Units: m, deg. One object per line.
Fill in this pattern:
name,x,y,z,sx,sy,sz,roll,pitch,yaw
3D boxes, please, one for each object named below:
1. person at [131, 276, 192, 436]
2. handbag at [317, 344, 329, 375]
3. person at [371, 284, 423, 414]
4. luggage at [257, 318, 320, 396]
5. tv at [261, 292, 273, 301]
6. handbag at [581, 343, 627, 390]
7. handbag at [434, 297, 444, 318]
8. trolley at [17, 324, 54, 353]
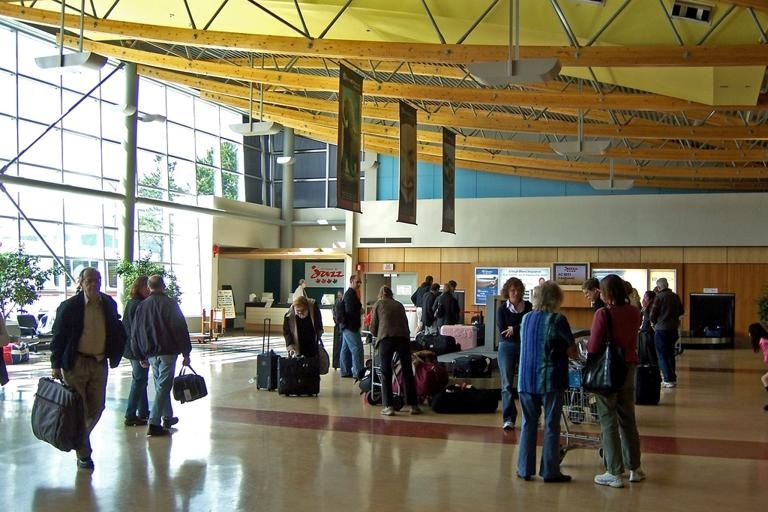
person,-3.226,1.425,9.599,0.906,2.272,0.486,1,-1,-1
handbag,-1.110,1.972,12.134,0.125,0.464,0.478,-5,19,7
person,0.170,1.593,10.842,0.798,1.932,0.526,1,-1,-9
luggage,-1.738,2.128,12.538,0.975,1.273,0.811,0,-2,10
tv,-4.696,1.682,26.637,0.387,0.289,0.328,1,0,3
handbag,2.595,1.298,7.726,0.529,0.711,0.325,0,-2,33
handbag,1.280,1.187,15.573,0.195,0.526,0.258,1,-1,4
trolley,-8.902,2.097,16.812,0.688,0.679,1.129,2,-2,-31
